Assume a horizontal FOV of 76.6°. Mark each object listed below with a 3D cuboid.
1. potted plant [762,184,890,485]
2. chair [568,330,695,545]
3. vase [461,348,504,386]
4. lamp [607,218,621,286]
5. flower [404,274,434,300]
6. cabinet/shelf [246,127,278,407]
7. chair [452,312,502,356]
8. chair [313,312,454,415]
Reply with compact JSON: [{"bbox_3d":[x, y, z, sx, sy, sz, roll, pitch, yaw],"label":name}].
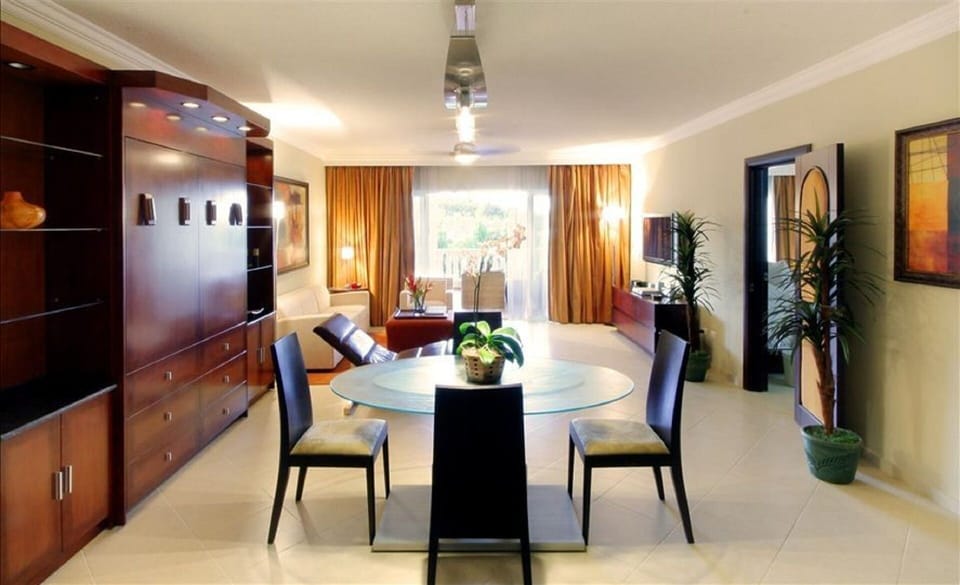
[{"bbox_3d":[3.119,0.371,5.582,0.842,2.268,1.511,3,7,29],"label":"potted plant"},{"bbox_3d":[1.120,1.068,4.578,0.875,1.480,0.538,-1,7,-2],"label":"chair"},{"bbox_3d":[0.012,0.555,4.483,0.287,0.167,0.261,0,3,0],"label":"vase"},{"bbox_3d":[2.237,-0.668,10.269,0.176,1.065,0.110,0,7,2],"label":"lamp"},{"bbox_3d":[-0.893,-0.085,8.761,0.399,0.410,0.370,1,7,0],"label":"flower"},{"bbox_3d":[-2.396,-0.253,6.666,0.340,2.826,0.970,-3,7,-18],"label":"cabinet/shelf"},{"bbox_3d":[-0.017,0.350,5.050,0.486,0.465,0.276,2,4,4],"label":"chair"},{"bbox_3d":[-0.884,0.665,6.676,1.593,0.891,0.849,-3,9,-1],"label":"chair"}]
